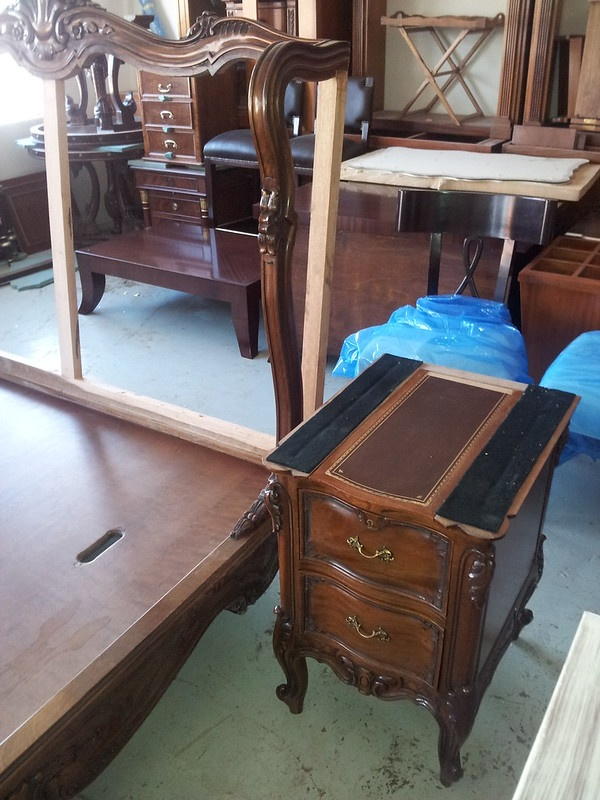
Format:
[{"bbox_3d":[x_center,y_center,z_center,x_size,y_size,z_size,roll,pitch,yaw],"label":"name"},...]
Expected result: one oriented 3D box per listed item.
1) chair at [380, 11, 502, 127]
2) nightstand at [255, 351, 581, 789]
[{"bbox_3d":[0.744,-1.708,3.233,0.571,0.560,0.382,25,51,31],"label":"chair"},{"bbox_3d":[0.170,0.169,1.333,0.568,0.758,0.704,16,36,30],"label":"nightstand"}]
